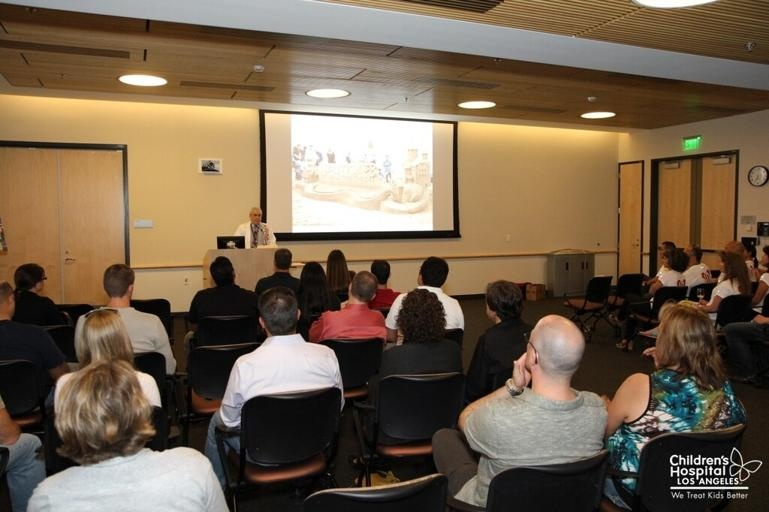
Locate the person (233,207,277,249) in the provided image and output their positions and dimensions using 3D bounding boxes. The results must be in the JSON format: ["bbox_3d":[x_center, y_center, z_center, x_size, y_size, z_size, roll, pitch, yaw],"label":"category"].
[{"bbox_3d":[-2.255,-0.356,9.466,0.688,0.837,0.520,5,7,-15],"label":"person"}]

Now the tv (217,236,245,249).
[{"bbox_3d":[-2.352,-0.192,8.345,0.375,0.250,0.189,-1,1,-18],"label":"tv"}]

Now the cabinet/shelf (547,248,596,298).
[{"bbox_3d":[4.236,0.374,12.437,1.109,1.058,0.381,-3,3,-17],"label":"cabinet/shelf"}]

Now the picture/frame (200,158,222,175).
[{"bbox_3d":[-3.103,-1.590,9.771,0.452,0.314,0.247,0,11,-15],"label":"picture/frame"}]

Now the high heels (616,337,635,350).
[{"bbox_3d":[3.480,1.269,7.983,0.131,0.137,0.356,0,2,-5],"label":"high heels"}]
